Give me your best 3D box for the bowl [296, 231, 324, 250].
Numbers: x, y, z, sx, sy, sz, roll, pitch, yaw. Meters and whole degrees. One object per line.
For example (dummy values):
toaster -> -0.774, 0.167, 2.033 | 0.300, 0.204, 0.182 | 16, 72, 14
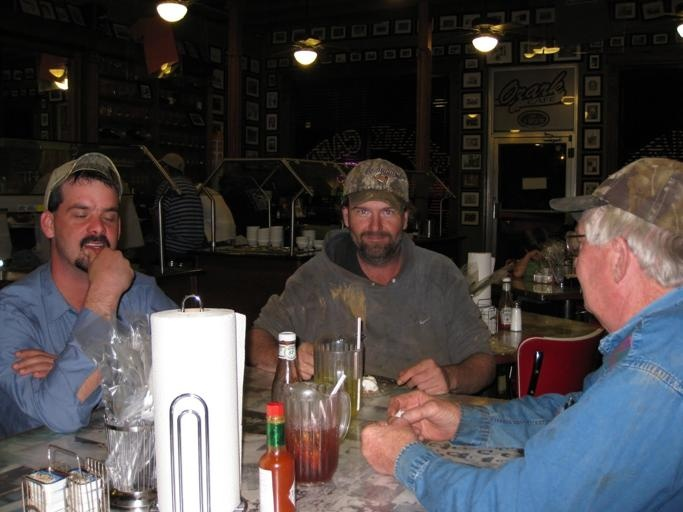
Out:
bowl -> -0.320, -0.138, 5.900 | 0.187, 0.140, 0.320 | -1, -4, 6

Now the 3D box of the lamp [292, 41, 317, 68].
lamp -> -0.469, -2.618, 7.860 | 0.327, 0.220, 0.314 | -1, 13, -6

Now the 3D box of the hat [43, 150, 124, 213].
hat -> -0.977, -0.270, 2.289 | 0.335, 0.205, 0.427 | -4, 4, -32

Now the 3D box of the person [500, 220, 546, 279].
person -> 1.886, -0.065, 6.326 | 0.578, 0.736, 0.295 | 2, 2, -39

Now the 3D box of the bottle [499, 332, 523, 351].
bottle -> 0.891, 0.452, 3.182 | 0.092, 0.093, 0.084 | 0, 2, -3

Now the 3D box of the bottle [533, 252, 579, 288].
bottle -> 1.667, 0.117, 4.669 | 0.155, 0.262, 0.157 | 4, -35, 3

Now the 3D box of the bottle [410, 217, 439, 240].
bottle -> 1.074, -0.350, 7.896 | 0.450, 0.299, 0.265 | -1, 3, 23

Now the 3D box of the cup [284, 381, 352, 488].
cup -> 0.006, 0.427, 1.448 | 0.144, 0.233, 0.244 | -1, -5, 30
